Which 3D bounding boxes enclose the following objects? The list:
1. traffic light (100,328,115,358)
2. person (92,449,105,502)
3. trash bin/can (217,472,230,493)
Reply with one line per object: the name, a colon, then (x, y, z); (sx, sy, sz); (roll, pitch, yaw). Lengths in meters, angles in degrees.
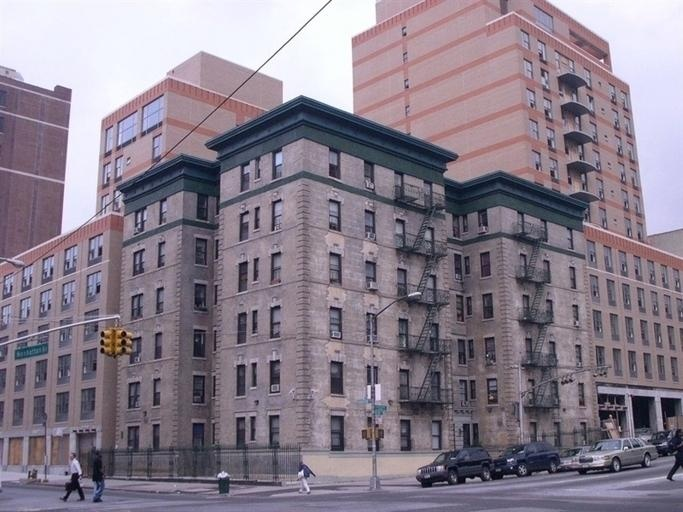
traffic light: (-12.893, 4.630, 44.547); (0.682, 1.490, 1.032); (3, -22, -13)
person: (-14.636, 13.200, 48.592); (0.607, 3.037, 1.411); (3, -22, -15)
trash bin/can: (-7.825, 14.967, 53.384); (0.609, 1.412, 0.647); (5, -22, -19)
